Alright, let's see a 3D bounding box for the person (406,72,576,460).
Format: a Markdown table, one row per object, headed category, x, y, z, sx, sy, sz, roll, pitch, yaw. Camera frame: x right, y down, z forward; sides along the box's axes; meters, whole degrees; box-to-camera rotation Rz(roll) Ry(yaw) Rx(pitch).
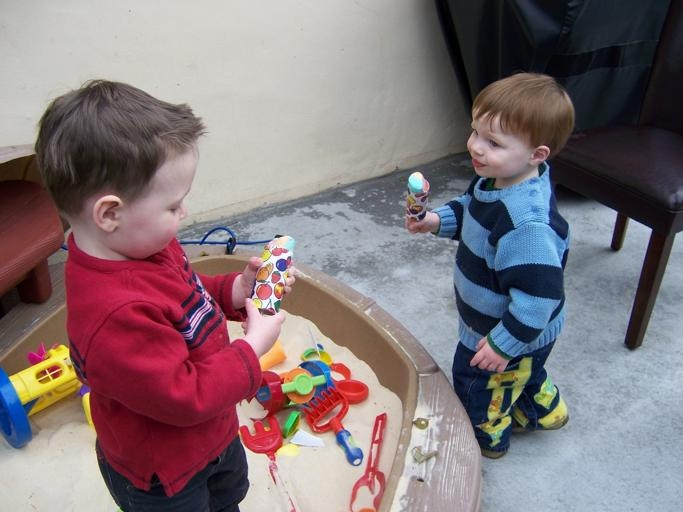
| category | x | y | z | sx | sy | sz | roll | pitch | yaw |
| --- | --- | --- | --- | --- | --- | --- | --- | --- | --- |
| person | 0.439 | 0.078 | 1.429 | 0.447 | 1.070 | 0.447 | -1 | 29 | 9 |
